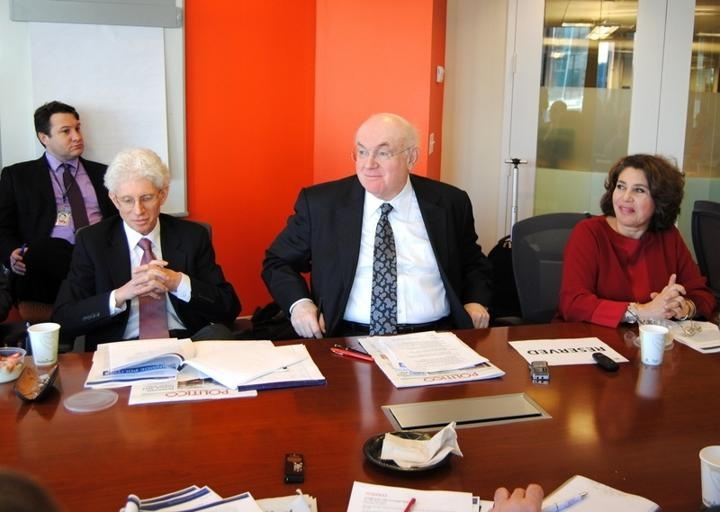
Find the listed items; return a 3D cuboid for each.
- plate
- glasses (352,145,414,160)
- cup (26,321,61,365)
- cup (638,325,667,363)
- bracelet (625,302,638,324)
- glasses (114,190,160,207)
[{"bbox_3d":[0.120,0.518,1.464,0.214,0.047,0.146,-6,16,-15],"label":"plate"},{"bbox_3d":[0.126,-0.503,2.676,0.290,0.071,0.155,-1,16,3],"label":"glasses"},{"bbox_3d":[-1.072,0.297,1.934,0.122,0.141,0.129,2,3,0],"label":"cup"},{"bbox_3d":[1.061,0.326,2.008,0.104,0.121,0.106,-3,6,0],"label":"cup"},{"bbox_3d":[1.151,0.245,2.348,0.055,0.077,0.027,-9,9,-28],"label":"bracelet"},{"bbox_3d":[-1.027,-0.265,2.559,0.206,0.066,0.132,-8,17,-20],"label":"glasses"}]
